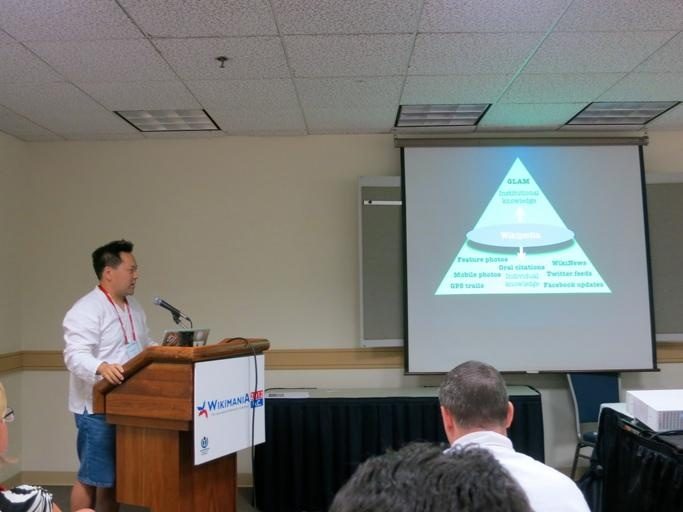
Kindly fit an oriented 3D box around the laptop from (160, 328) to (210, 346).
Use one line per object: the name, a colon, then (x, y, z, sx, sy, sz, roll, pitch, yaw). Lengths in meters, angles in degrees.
laptop: (-0.921, 0.479, 3.230, 0.251, 0.102, 0.291, 0, -9, -12)
